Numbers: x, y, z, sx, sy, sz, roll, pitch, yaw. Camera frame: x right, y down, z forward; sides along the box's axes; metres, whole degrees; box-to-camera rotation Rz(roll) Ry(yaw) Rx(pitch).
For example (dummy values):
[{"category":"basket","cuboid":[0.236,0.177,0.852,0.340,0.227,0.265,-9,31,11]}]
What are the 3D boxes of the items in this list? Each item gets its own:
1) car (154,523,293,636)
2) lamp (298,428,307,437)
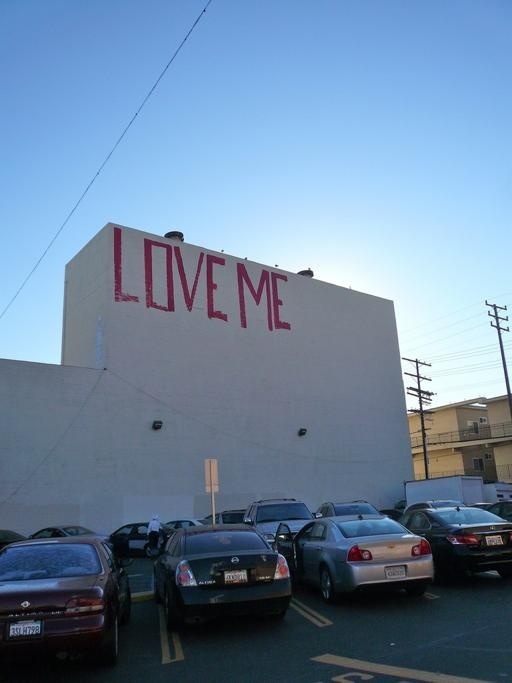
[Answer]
[{"category":"car","cuboid":[-0.451,3.001,6.698,1.447,1.132,1.521,-1,-14,-21]},{"category":"lamp","cuboid":[2.508,5.021,28.729,0.496,0.399,0.235,-17,-7,-25]}]
